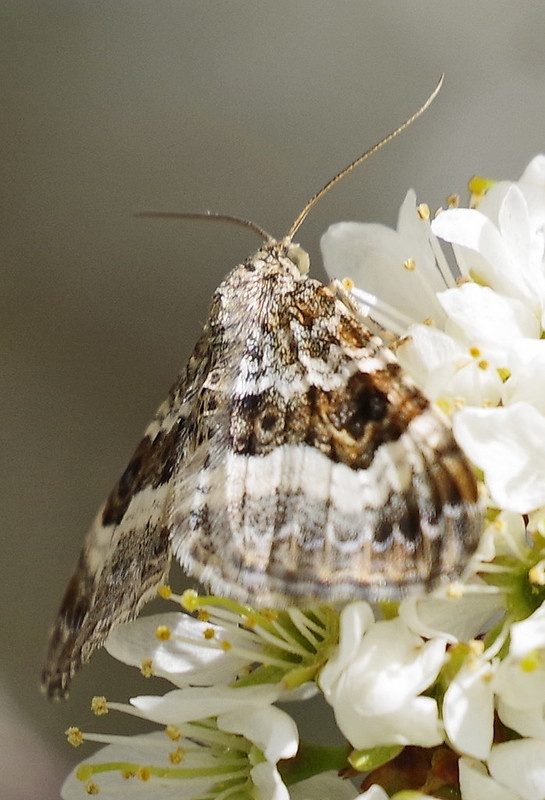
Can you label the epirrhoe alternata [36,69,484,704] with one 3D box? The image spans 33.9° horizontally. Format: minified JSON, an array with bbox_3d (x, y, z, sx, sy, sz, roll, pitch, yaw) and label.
[{"bbox_3d":[-0.039,-0.020,0.595,0.146,0.371,0.292,12,-36,-41],"label":"epirrhoe alternata"}]
